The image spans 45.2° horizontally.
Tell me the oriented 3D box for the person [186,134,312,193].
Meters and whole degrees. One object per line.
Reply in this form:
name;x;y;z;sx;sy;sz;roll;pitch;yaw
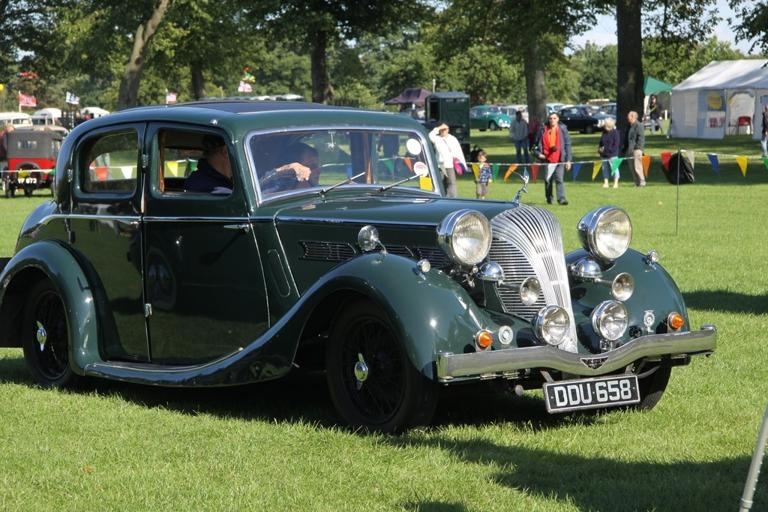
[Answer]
person;-1.364;-0.796;8.900;0.882;0.426;0.640;-4;9;21
